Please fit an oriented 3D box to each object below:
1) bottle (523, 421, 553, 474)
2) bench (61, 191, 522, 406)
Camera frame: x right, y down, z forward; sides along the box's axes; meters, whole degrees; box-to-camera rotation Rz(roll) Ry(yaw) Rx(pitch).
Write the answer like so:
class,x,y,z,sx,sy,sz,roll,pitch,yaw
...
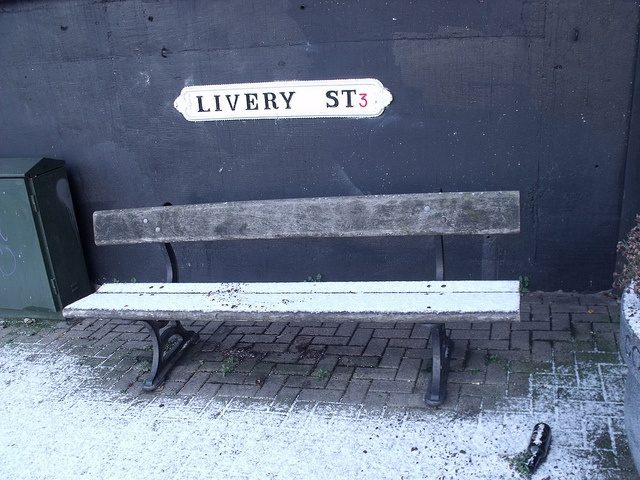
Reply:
class,x,y,z,sx,sy,sz,roll,pitch,yaw
bottle,1.481,1.400,3.840,0.125,0.113,0.372,-24,12,31
bench,-0.246,0.402,4.748,3.739,1.378,1.111,-2,14,11
